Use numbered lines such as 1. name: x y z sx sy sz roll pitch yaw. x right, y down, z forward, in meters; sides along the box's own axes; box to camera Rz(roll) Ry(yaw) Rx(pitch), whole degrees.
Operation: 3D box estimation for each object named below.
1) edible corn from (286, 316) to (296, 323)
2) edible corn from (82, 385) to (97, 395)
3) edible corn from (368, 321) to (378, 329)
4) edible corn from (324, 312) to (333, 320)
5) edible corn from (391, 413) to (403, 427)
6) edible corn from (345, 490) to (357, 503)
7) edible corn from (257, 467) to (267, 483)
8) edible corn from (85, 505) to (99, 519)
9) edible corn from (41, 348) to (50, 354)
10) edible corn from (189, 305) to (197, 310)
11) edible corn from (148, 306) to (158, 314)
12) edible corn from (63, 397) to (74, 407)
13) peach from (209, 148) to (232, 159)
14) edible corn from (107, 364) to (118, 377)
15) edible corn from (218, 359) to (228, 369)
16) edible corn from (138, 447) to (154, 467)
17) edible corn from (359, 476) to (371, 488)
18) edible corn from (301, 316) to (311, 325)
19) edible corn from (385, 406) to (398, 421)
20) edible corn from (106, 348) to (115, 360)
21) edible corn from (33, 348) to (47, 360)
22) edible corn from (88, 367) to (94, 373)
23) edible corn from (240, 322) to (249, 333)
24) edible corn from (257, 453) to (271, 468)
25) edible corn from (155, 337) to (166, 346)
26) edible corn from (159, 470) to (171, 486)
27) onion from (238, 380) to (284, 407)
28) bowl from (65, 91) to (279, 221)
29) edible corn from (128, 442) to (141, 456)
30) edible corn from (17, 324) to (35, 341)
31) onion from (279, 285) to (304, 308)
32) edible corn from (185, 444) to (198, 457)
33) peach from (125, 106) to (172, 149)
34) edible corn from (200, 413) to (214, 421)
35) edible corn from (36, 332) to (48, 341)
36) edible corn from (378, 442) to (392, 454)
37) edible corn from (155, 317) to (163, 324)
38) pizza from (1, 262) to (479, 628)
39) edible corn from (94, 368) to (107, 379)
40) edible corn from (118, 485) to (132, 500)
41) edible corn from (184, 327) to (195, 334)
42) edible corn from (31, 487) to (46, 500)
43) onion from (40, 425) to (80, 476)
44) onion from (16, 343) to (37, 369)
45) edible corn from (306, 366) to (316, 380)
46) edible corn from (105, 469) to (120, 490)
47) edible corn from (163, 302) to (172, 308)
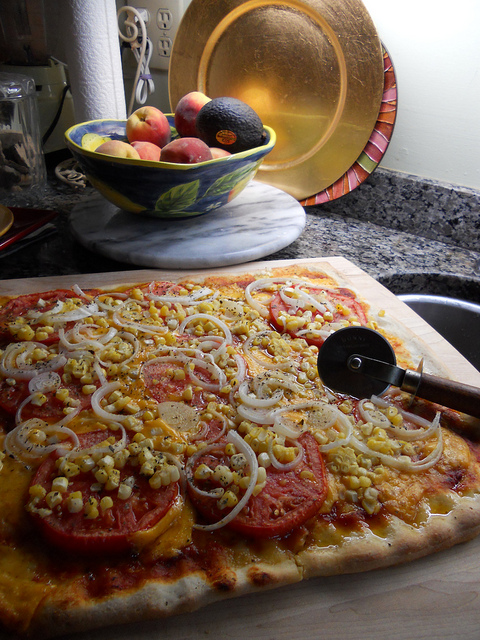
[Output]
1. edible corn: 0.114 -0.002 1.229 0.015 0.005 0.014 -8 15 -6
2. edible corn: -0.280 0.128 1.007 0.021 0.017 0.016 -12 39 -40
3. edible corn: 0.306 0.012 1.256 0.014 0.014 0.005 -29 57 -11
4. edible corn: 0.204 -0.009 1.253 0.018 0.016 0.017 5 31 22
5. edible corn: 0.286 0.182 0.986 0.015 0.018 0.011 19 23 -47
6. edible corn: 0.179 0.284 0.876 0.015 0.005 0.014 -3 48 2
7. edible corn: 0.034 0.246 0.863 0.019 0.020 0.018 -4 16 -7
8. edible corn: -0.217 0.278 0.786 0.016 0.012 0.017 0 38 -6
9. edible corn: -0.391 0.063 1.086 0.011 0.003 0.010 38 23 17
10. edible corn: -0.111 -0.030 1.277 0.013 0.008 0.007 0 4 13
11. edible corn: -0.197 -0.022 1.228 0.017 0.015 0.018 4 -5 42
12. edible corn: -0.308 0.145 0.972 0.015 0.014 0.004 2 -13 37
13. peach: -0.058 -0.463 1.542 0.057 0.029 0.045 -11 33 -31
14. edible corn: -0.246 0.097 1.046 0.019 0.005 0.019 -45 41 -6
15. edible corn: -0.036 0.089 1.098 0.017 0.015 0.016 -1 3 -16
16. edible corn: -0.152 0.216 0.861 0.022 0.023 0.023 45 10 -10
17. edible corn: 0.203 0.261 0.881 0.016 0.015 0.015 -4 40 25
18. edible corn: 0.149 0.001 1.241 0.019 0.006 0.018 33 37 -19
19. edible corn: 0.282 0.173 1.001 0.021 0.010 0.019 -8 42 -2
20. edible corn: -0.260 0.068 1.087 0.017 0.006 0.018 -44 12 -1
21. edible corn: -0.398 0.068 1.069 0.032 0.017 0.027 6 52 -35
22. edible corn: -0.290 0.097 1.050 0.009 0.002 0.009 1 39 5
23. edible corn: 0.010 0.018 1.196 0.019 0.019 0.018 -13 57 42
24. edible corn: 0.039 0.228 0.888 0.022 0.019 0.020 -3 9 -26
25. edible corn: -0.168 0.046 1.137 0.016 0.008 0.015 -17 22 -31
26. edible corn: -0.116 0.245 0.841 0.023 0.021 0.021 -3 21 -1
27. onion: 0.043 0.135 1.014 0.052 0.013 0.050 -9 29 -24
28. bowl: -0.245 -0.480 1.551 0.525 0.265 0.507 0 25 0
29. edible corn: -0.171 0.208 0.878 0.016 0.016 0.017 -28 72 -16
30. edible corn: -0.438 0.026 1.110 0.028 0.010 0.028 -38 75 -28
31. onion: 0.125 -0.060 1.309 0.057 0.014 0.054 32 31 14
32. edible corn: -0.080 0.216 0.898 0.017 0.016 0.014 -6 75 11
33. peach: -0.298 -0.591 1.681 0.138 0.121 0.147 -7 22 -24
34. edible corn: -0.061 0.173 0.972 0.016 0.008 0.012 4 19 27
35. edible corn: -0.405 0.035 1.108 0.019 0.009 0.016 5 74 -18
36. edible corn: 0.248 0.220 0.934 0.018 0.017 0.010 23 22 -14
37. edible corn: -0.181 0.002 1.207 0.012 0.012 0.011 -5 1 4
38. pizza: -0.016 0.123 1.101 0.882 0.141 0.865 -3 32 -17
39. edible corn: -0.269 0.105 1.041 0.019 0.017 0.008 -3 39 -2
40. edible corn: -0.173 0.258 0.817 0.019 0.015 0.019 3 5 22
41. edible corn: -0.112 0.023 1.198 0.015 0.005 0.014 -4 38 15
42. edible corn: -0.299 0.256 0.805 0.013 0.017 0.017 40 47 18
43. onion: -0.292 0.214 0.875 0.058 0.019 0.090 -19 24 -13
44. onion: -0.416 0.072 1.072 0.013 0.035 0.043 33 52 -36
45. edible corn: 0.144 0.107 1.098 0.022 0.008 0.019 5 48 4
46. edible corn: -0.196 0.243 0.831 0.016 0.009 0.028 -3 40 7
47. edible corn: -0.171 -0.036 1.275 0.013 0.015 0.012 -9 31 -10
